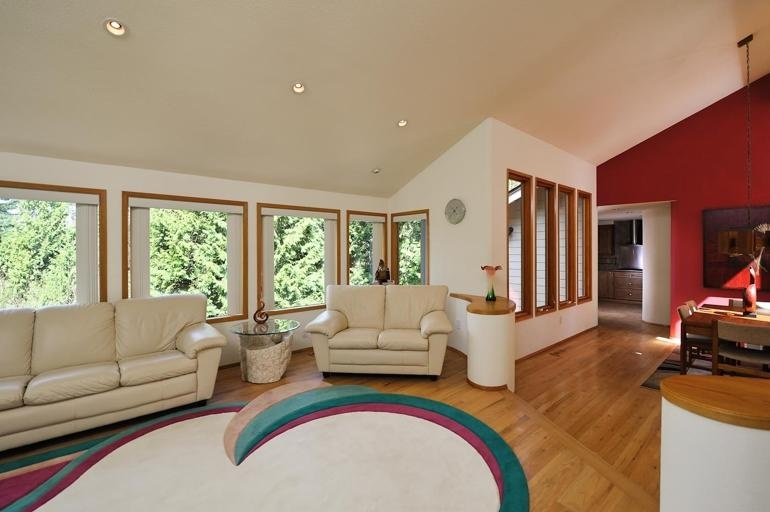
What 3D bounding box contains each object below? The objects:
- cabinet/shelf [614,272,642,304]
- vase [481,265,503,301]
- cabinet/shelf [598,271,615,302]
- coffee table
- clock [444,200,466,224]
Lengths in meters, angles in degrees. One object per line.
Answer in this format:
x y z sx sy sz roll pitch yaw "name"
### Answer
5.625 0.681 11.093 0.379 0.716 0.711 2 -1 -14 "cabinet/shelf"
1.409 0.325 6.367 0.266 0.470 0.742 -1 -2 12 "vase"
5.322 0.670 11.571 0.108 0.708 0.431 0 -1 -24 "cabinet/shelf"
-1.509 1.167 6.149 0.719 0.564 0.722 -1 -2 39 "coffee table"
1.028 -0.672 6.997 0.071 0.381 0.402 0 -2 -34 "clock"
